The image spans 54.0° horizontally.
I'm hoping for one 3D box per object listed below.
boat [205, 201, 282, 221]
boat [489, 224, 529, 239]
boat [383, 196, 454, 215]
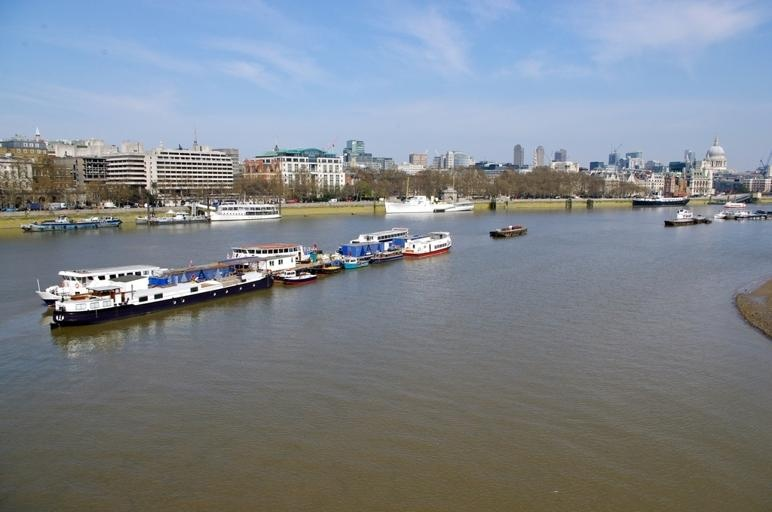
[{"bbox_3d":[-22.023,-6.666,117.912,7.788,2.709,11.131,3,11,16],"label":"boat"},{"bbox_3d":[13.671,-2.486,85.029,2.823,1.014,6.823,4,12,24],"label":"boat"},{"bbox_3d":[6.513,-8.909,138.962,14.649,3.541,4.535,1,0,-15],"label":"boat"}]
